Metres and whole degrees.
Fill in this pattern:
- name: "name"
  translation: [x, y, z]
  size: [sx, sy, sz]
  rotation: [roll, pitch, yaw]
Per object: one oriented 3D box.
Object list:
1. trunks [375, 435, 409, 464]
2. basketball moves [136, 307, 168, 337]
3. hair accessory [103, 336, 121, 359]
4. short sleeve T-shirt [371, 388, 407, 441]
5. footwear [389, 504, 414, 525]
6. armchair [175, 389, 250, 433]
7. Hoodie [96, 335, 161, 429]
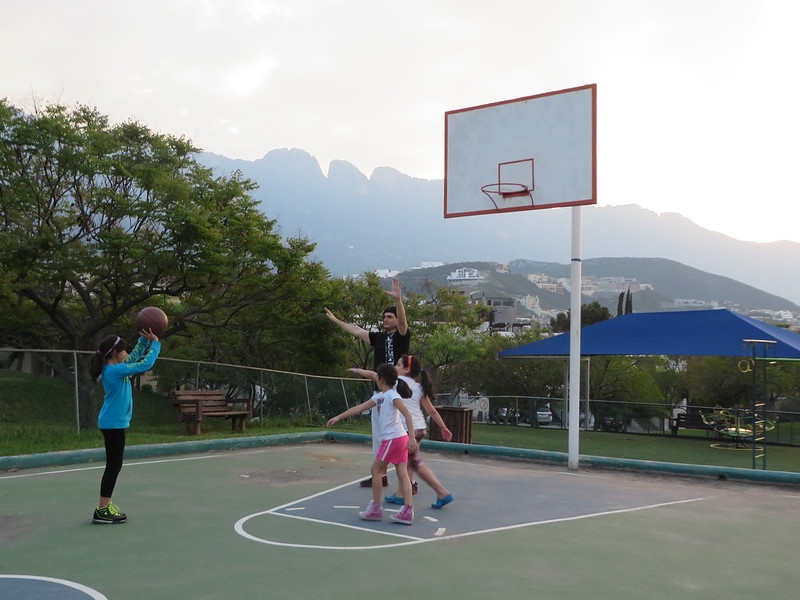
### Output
- name: "trunks"
  translation: [-0.069, 1.989, 8.137]
  size: [0.526, 0.328, 0.495]
  rotation: [-4, -6, 0]
- name: "basketball moves"
  translation: [-3.394, 0.285, 8.359]
  size: [0.421, 0.428, 0.421]
  rotation: [1, -1, 11]
- name: "hair accessory"
  translation: [-3.631, 0.595, 7.665]
  size: [0.063, 0.251, 0.191]
  rotation: [31, -19, -19]
- name: "short sleeve T-shirt"
  translation: [-0.094, 1.537, 8.163]
  size: [0.418, 0.724, 0.710]
  rotation: [-2, -6, -25]
- name: "footwear"
  translation: [0.035, 2.809, 7.979]
  size: [0.283, 0.249, 0.175]
  rotation: [2, -6, -5]
- name: "armchair"
  translation: [-5.430, 3.200, 17.453]
  size: [2.135, 1.189, 1.043]
  rotation: [6, -8, -41]
- name: "Hoodie"
  translation: [-3.509, 1.059, 7.867]
  size: [0.607, 1.170, 0.734]
  rotation: [1, -5, -2]
